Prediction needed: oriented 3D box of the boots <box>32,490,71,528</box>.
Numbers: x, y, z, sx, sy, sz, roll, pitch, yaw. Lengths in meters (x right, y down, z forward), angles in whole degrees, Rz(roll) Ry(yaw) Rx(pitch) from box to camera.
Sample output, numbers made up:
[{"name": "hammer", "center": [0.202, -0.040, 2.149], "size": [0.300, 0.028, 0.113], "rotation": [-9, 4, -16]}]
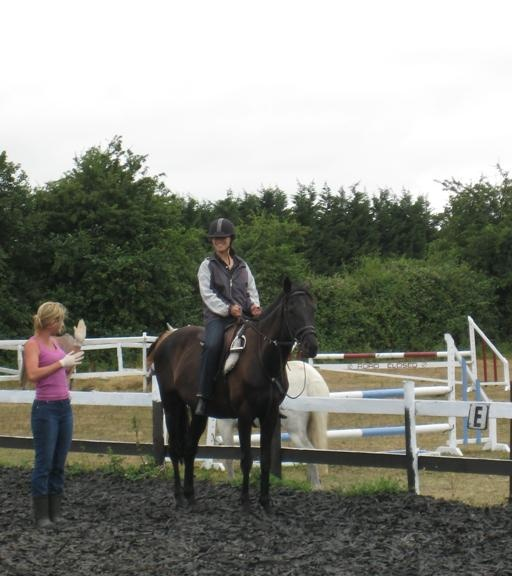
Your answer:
[{"name": "boots", "center": [-1.944, 2.074, 9.586], "size": [0.277, 0.319, 0.267], "rotation": [9, -16, -43]}]

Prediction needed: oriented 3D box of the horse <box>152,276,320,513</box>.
[{"name": "horse", "center": [-0.223, 1.027, 10.276], "size": [0.802, 2.218, 2.206], "rotation": [1, 0, -40]}]

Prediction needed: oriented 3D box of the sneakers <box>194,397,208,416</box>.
[{"name": "sneakers", "center": [-0.545, 1.156, 10.059], "size": [0.106, 0.164, 0.167], "rotation": [2, -14, -5]}]

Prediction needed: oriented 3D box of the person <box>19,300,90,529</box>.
[{"name": "person", "center": [-1.953, 1.156, 9.773], "size": [0.577, 1.969, 0.819], "rotation": [1, 0, -13]}]

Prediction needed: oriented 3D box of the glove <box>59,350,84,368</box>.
[{"name": "glove", "center": [-1.732, 0.627, 9.479], "size": [0.183, 0.052, 0.147], "rotation": [-21, -25, -11]}]
